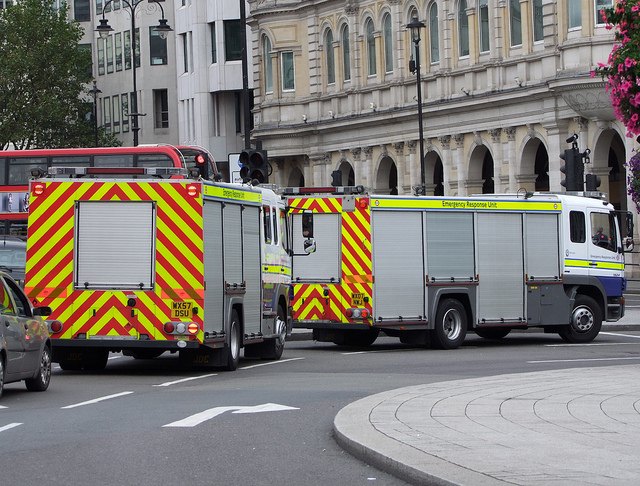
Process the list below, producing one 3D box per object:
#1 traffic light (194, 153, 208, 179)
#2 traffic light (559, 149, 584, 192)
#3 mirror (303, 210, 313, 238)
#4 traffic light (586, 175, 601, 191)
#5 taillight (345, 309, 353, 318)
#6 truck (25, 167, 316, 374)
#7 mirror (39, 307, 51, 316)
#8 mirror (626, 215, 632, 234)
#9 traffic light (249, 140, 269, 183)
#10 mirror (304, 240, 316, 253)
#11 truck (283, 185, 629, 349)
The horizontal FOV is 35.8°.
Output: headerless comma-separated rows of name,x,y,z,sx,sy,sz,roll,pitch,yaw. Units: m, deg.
traffic light,-3.746,-2.449,31.095,0.413,0.593,0.959,-2,1,-7
traffic light,6.786,-1.972,26.769,0.567,1.167,1.814,-2,1,14
mirror,-0.268,-0.392,20.844,0.212,0.373,0.526,-2,1,-1
traffic light,7.615,-1.672,27.745,0.437,0.577,0.548,0,-2,17
taillight,0.621,1.535,21.568,0.168,0.184,0.041,1,-2,15
truck,-2.800,0.625,18.434,3.019,2.968,5.036,-1,-1,22
mirror,-4.184,1.035,15.035,0.154,0.108,0.301,-3,1,-24
mirror,7.128,-0.428,22.876,0.110,0.438,0.624,-2,1,18
traffic light,-1.485,-1.842,23.652,0.425,0.669,0.749,-2,1,-5
mirror,-0.234,0.066,21.101,0.091,0.271,0.263,0,1,31
truck,3.035,0.512,23.628,6.726,3.478,3.796,-1,0,-31
